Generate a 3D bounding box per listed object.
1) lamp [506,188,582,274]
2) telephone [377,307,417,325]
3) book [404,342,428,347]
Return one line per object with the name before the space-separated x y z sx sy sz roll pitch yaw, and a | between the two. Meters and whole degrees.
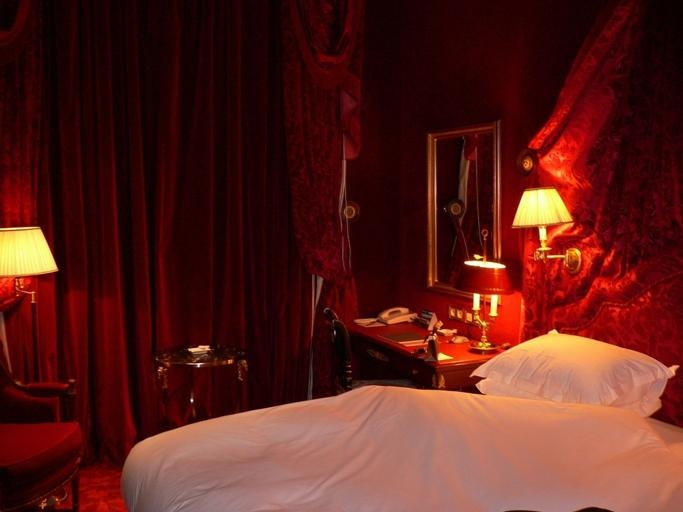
lamp | 1.325 -0.124 4.033 0.471 0.786 0.466 2 -5 -22
telephone | 0.475 0.499 5.131 0.226 0.107 0.166 2 2 -21
book | 0.546 0.654 4.387 0.154 0.030 0.083 -1 -1 6
